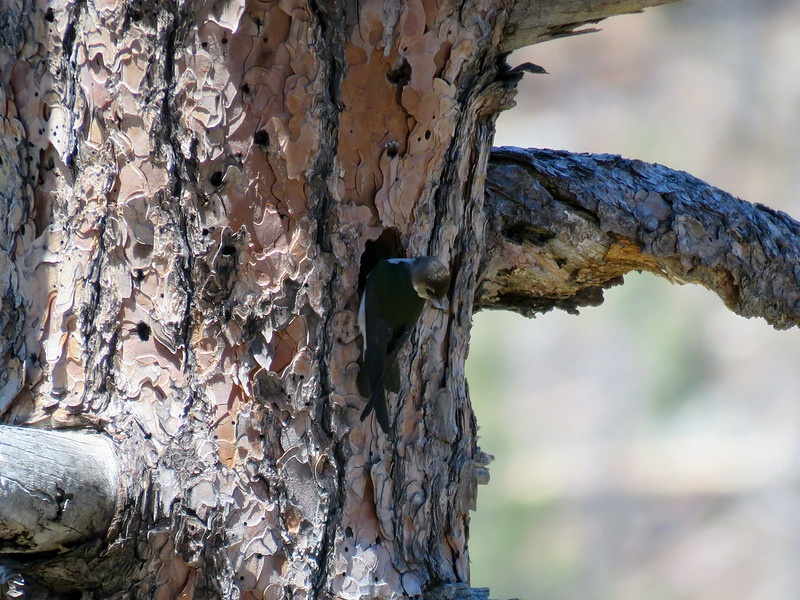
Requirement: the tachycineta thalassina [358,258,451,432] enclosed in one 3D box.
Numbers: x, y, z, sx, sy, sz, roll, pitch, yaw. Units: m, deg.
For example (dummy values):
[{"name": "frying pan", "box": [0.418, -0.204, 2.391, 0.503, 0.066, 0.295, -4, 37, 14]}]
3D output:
[{"name": "tachycineta thalassina", "box": [-0.004, 0.147, 6.489, 0.188, 0.138, 0.482, 27, -85, -49]}]
